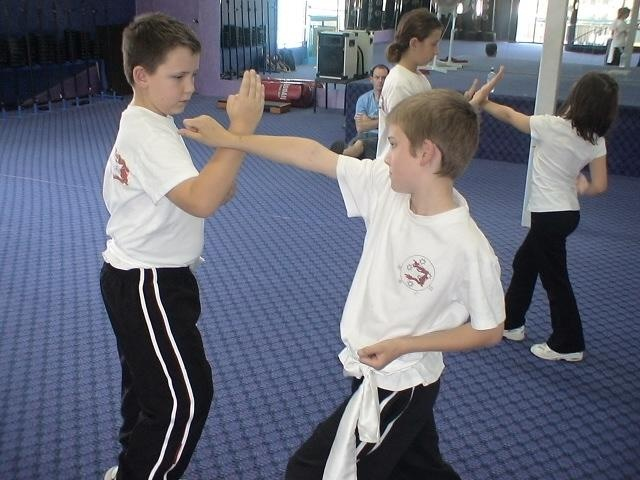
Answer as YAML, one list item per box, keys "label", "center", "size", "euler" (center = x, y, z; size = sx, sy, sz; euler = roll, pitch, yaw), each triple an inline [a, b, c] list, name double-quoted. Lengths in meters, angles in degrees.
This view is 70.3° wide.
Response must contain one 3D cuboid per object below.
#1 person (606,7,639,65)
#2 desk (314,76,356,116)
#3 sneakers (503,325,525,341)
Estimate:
- label: "person"
  center: [4.120, -2.790, 6.210]
  size: [0.415, 0.739, 0.263]
  euler: [-20, 28, -40]
- label: "desk"
  center: [0.239, -2.651, 8.697]
  size: [0.821, 0.844, 0.871]
  euler: [6, 22, 13]
- label: "sneakers"
  center: [1.136, 0.549, 2.694]
  size: [0.134, 0.102, 0.085]
  euler: [3, 8, -4]
